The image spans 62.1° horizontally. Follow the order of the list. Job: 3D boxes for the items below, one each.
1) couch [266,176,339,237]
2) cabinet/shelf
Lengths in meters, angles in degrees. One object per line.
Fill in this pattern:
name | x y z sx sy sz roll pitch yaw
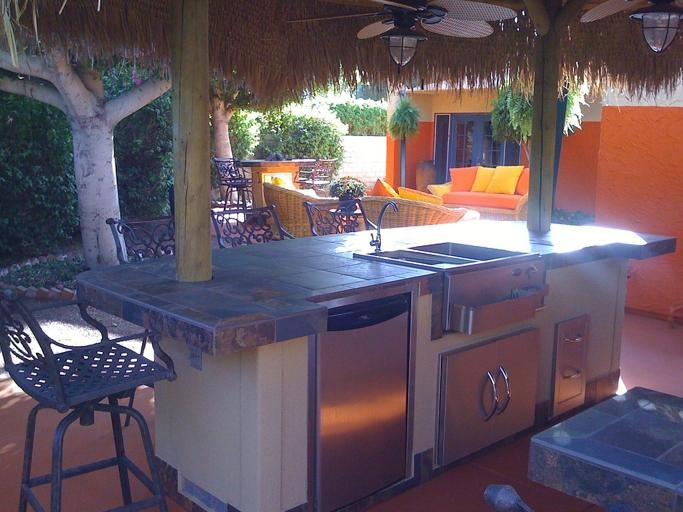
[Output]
couch | -0.559 -0.683 7.880 0.721 0.919 0.755 -6 11 -42
cabinet/shelf | 0.805 0.729 3.053 0.779 0.604 0.161 -14 16 -41
